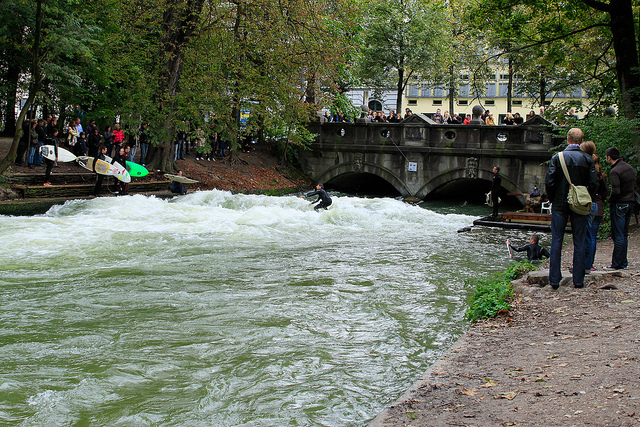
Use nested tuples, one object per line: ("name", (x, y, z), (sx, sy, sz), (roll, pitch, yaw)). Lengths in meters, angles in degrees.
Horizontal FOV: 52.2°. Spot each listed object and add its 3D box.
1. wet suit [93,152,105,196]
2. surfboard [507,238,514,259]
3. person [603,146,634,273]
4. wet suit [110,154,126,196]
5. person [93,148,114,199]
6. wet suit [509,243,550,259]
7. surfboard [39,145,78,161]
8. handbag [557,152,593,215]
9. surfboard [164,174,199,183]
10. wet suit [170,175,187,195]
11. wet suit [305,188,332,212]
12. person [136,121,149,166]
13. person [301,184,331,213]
("wet suit", (-8.463, -1.536, 25.083), (0.483, 1.614, 0.251), (-1, 17, -7))
("surfboard", (5.659, 1.051, 19.467), (0.076, 0.614, 0.600), (-3, -8, 25))
("person", (6.456, -0.113, 14.218), (0.711, 2.582, 0.752), (7, 11, 19))
("wet suit", (-7.916, -1.540, 25.716), (0.539, 1.582, 1.008), (0, 11, -15))
("person", (-8.390, -1.481, 25.331), (0.772, 0.769, 2.054), (17, -39, -18))
("wet suit", (5.257, 0.926, 16.491), (0.854, 0.442, 0.682), (4, 10, 7))
("surfboard", (-10.025, -2.294, 24.967), (0.495, 0.665, 1.673), (4, 10, 7))
("handbag", (4.989, -0.587, 12.872), (0.679, 1.147, 0.249), (13, 15, 43))
("surfboard", (-6.263, -1.566, 29.288), (0.568, 0.226, 2.119), (12, 3, 37))
("wet suit", (-6.183, -1.179, 28.599), (0.663, 0.820, 0.416), (-2, 12, -11))
("wet suit", (-0.049, -0.568, 25.563), (0.925, 1.057, 0.861), (14, 9, 22))
("person", (-8.090, -3.235, 29.846), (0.509, 1.970, 1.362), (0, 11, -16))
("person", (-0.209, -0.463, 25.823), (1.473, 1.319, 1.026), (-1, -2, -19))
